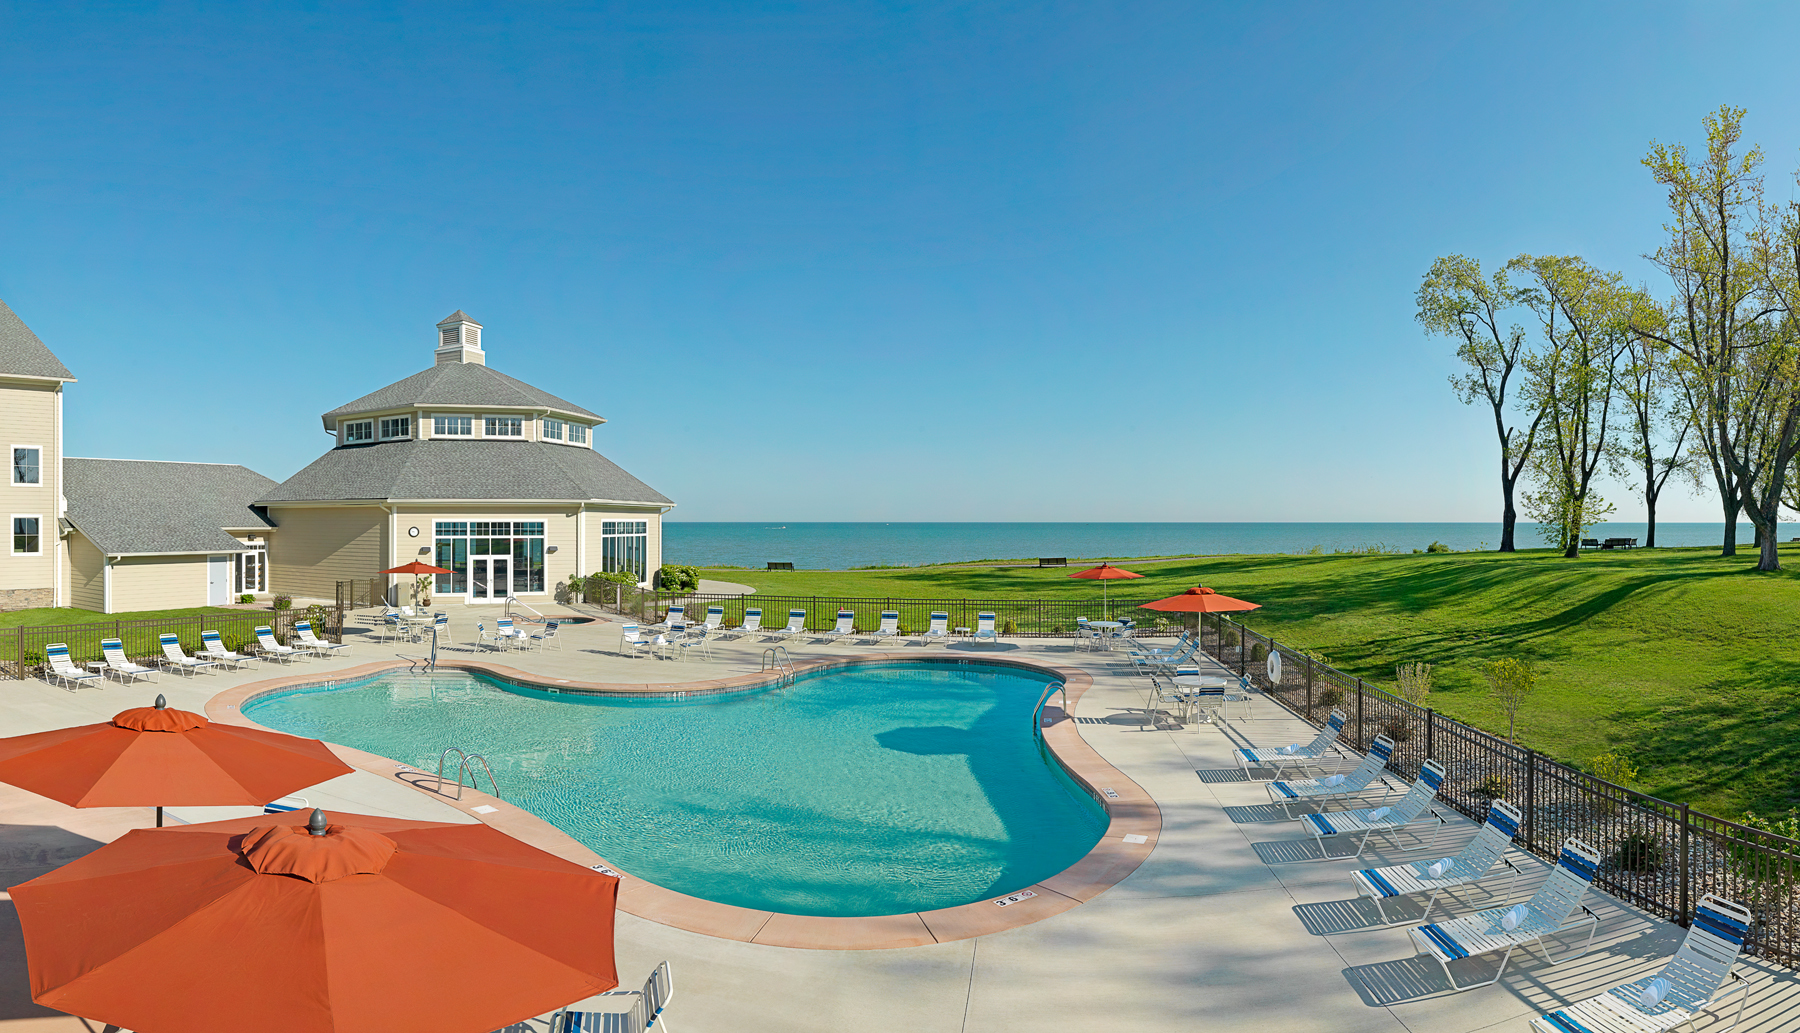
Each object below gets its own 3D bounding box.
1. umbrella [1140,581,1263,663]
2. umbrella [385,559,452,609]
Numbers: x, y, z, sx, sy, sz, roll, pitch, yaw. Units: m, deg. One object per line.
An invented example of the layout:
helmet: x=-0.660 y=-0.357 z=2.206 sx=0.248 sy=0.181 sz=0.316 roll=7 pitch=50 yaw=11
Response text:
umbrella: x=11.402 y=4.604 z=42.304 sx=3.926 sy=2.634 sz=3.963 roll=-1 pitch=8 yaw=10
umbrella: x=-23.699 y=3.157 z=55.551 sx=3.504 sy=2.361 sz=3.083 roll=0 pitch=-4 yaw=4
